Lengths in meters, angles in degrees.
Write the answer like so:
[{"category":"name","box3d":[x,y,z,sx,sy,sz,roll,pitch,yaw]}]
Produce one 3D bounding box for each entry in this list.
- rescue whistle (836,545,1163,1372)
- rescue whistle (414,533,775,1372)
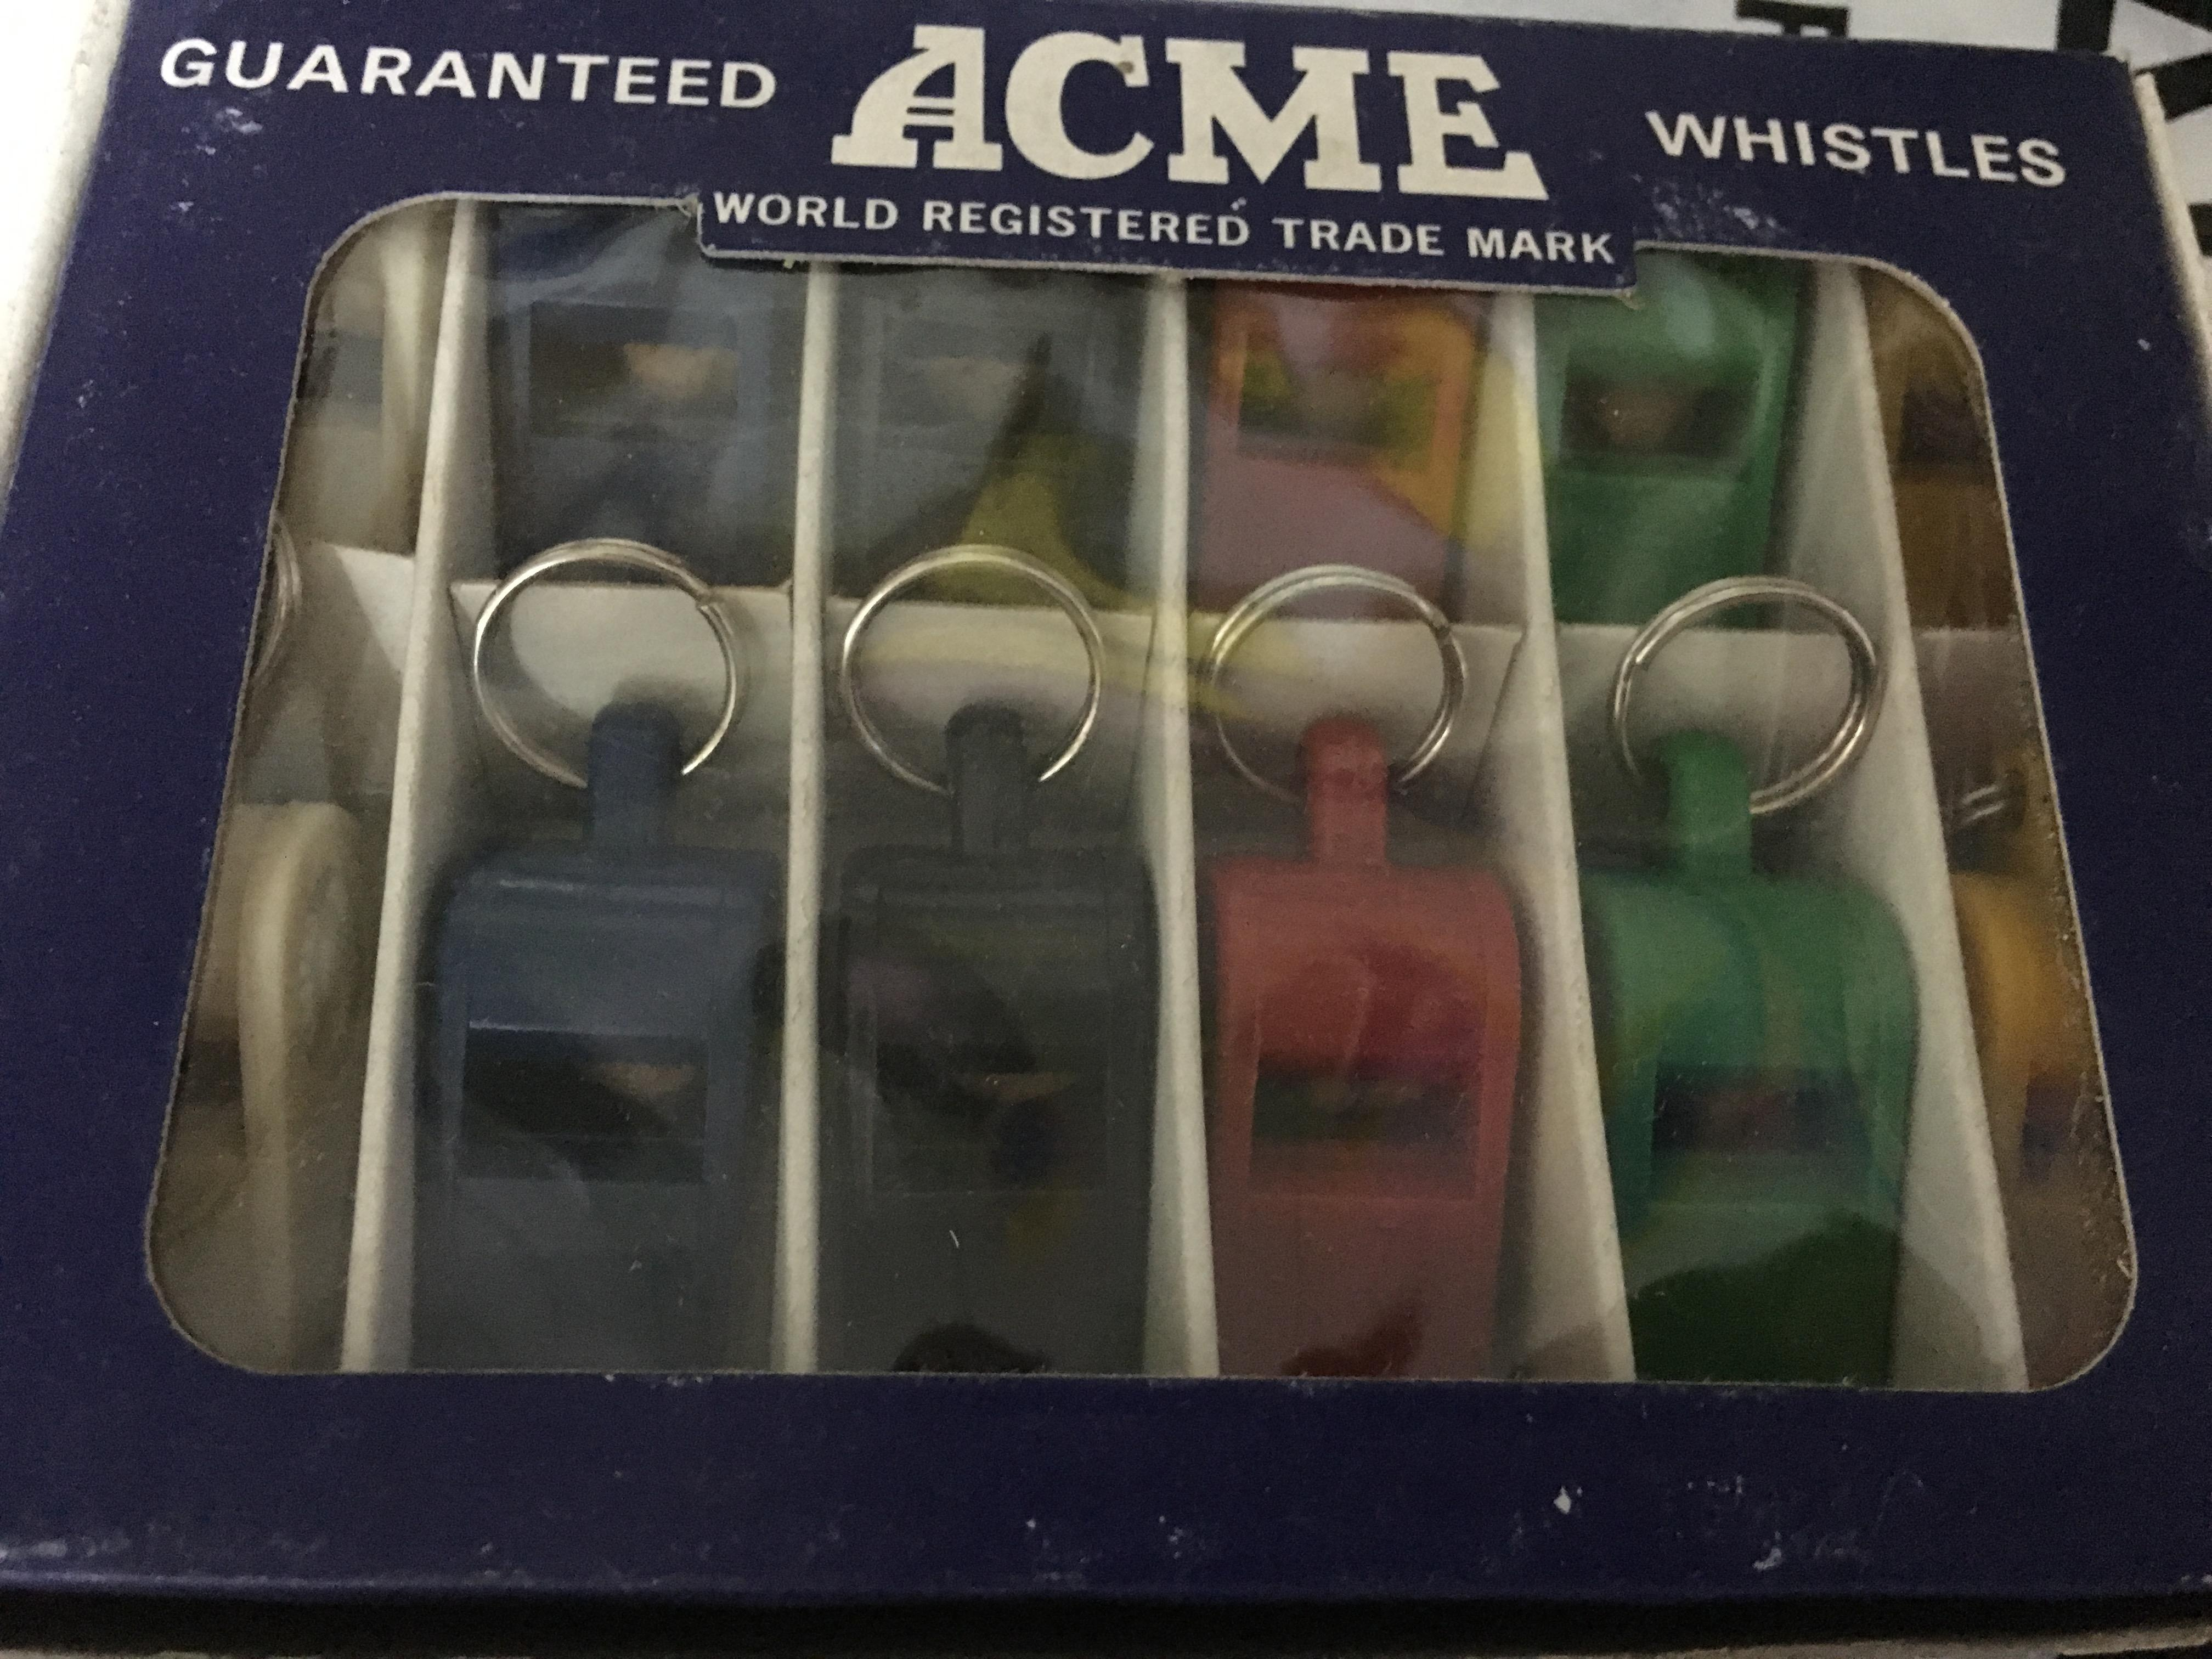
[{"category":"rescue whistle","box3d":[-0.035,0.036,1.004,0.105,0.361,0.103,2,35,-1]},{"category":"rescue whistle","box3d":[-0.147,0.027,0.971,0.099,0.287,0.074,2,29,-9]}]
